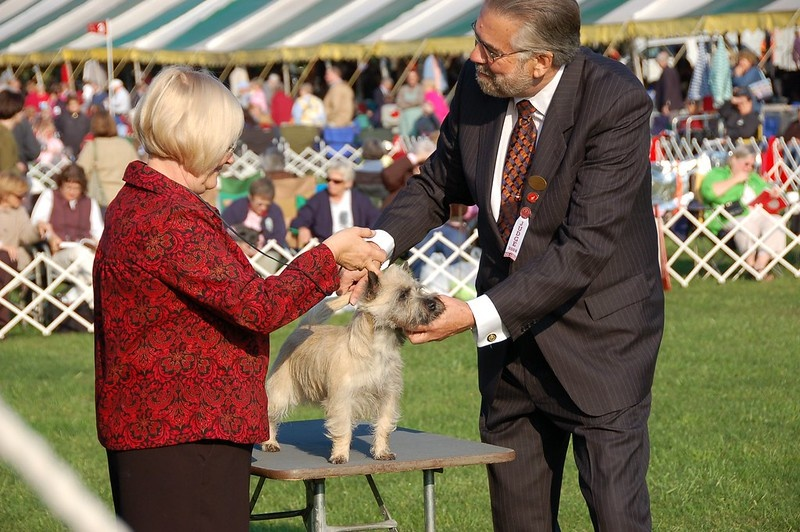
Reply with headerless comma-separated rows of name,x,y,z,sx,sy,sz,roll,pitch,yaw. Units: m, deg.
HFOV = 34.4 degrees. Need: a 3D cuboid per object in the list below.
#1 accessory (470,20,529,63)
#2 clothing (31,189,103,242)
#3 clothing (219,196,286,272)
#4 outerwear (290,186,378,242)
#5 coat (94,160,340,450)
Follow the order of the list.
accessory,0.784,-1.742,10.194,0.310,0.108,0.359,-8,58,-22
clothing,-4.280,-0.620,16.635,0.650,0.615,0.389,4,-2,-21
clothing,-1.728,-0.375,15.424,0.768,1.250,0.598,-4,3,-31
outerwear,-0.883,-0.657,16.696,0.790,0.812,0.329,1,-2,6
coat,-1.577,0.317,10.710,1.820,2.548,1.554,-1,2,-17
